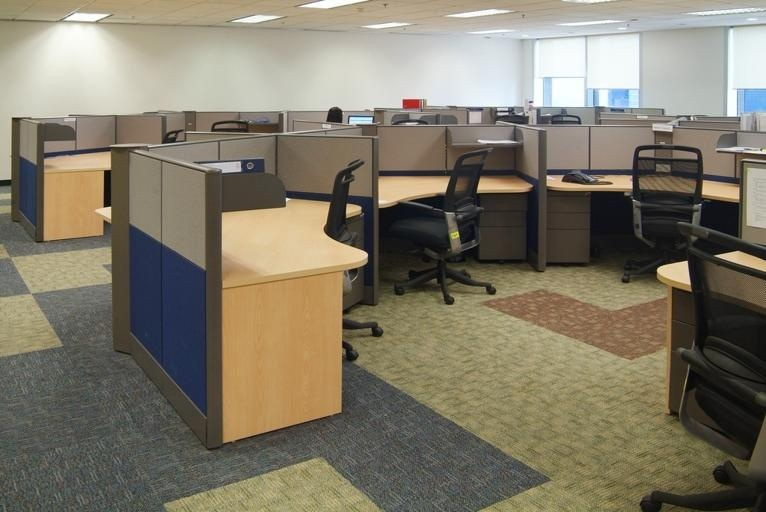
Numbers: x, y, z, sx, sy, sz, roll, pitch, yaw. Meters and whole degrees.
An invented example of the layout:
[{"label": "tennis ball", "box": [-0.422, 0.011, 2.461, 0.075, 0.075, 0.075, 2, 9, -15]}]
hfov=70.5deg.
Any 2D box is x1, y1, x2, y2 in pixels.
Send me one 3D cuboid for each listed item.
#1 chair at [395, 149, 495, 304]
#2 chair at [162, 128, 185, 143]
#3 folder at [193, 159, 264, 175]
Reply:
[{"label": "chair", "box": [0.479, -0.322, 4.623, 0.872, 1.183, 1.061, -4, 17, -10]}, {"label": "chair", "box": [-2.872, -1.624, 7.329, 0.209, 0.165, 0.830, -7, 17, -21]}, {"label": "folder", "box": [-1.089, -0.671, 4.044, 0.210, 0.114, 0.548, 6, 17, 20]}]
